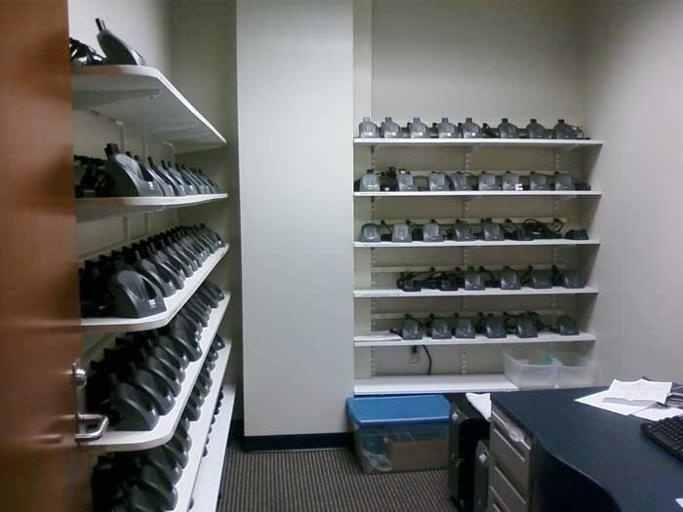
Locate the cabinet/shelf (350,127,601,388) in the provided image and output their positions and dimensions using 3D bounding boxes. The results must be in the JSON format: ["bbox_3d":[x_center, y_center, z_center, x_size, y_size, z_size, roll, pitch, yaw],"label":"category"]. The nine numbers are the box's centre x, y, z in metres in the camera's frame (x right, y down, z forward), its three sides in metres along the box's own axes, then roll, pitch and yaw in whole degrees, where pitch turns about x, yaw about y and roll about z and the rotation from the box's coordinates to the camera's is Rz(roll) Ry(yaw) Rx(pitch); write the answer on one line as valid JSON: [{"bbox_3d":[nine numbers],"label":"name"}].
[{"bbox_3d":[1.018,-0.039,4.376,1.840,1.985,0.570,0,1,-5],"label":"cabinet/shelf"}]

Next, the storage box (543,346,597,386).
[{"bbox_3d":[1.820,0.841,4.422,0.373,0.201,0.499,0,12,3],"label":"storage box"}]

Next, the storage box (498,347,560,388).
[{"bbox_3d":[1.517,0.933,4.498,0.395,0.232,0.527,3,-2,-3],"label":"storage box"}]

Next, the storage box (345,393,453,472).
[{"bbox_3d":[0.401,1.202,4.002,0.694,0.377,0.508,0,-2,-8],"label":"storage box"}]
